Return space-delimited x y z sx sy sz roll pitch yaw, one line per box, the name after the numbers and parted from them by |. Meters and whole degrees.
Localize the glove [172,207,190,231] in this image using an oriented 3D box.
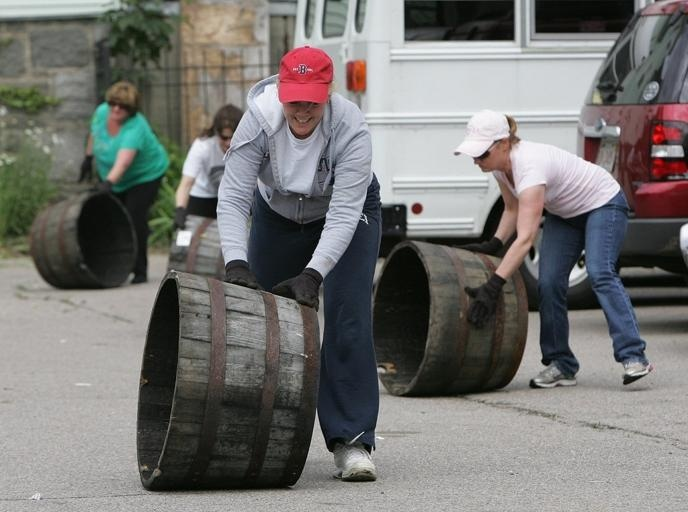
-1.451 -0.326 12.291 0.076 0.097 0.298 -3 40 11 | glove

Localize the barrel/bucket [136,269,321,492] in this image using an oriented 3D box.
-0.515 0.553 7.645 1.099 1.132 1.144 3 9 0 | barrel/bucket

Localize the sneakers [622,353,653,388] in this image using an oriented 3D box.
1.952 0.749 9.053 0.294 0.142 0.122 -19 -14 -48 | sneakers

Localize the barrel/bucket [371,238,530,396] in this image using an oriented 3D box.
0.588 0.366 9.573 1.184 1.003 1.287 -2 12 0 | barrel/bucket

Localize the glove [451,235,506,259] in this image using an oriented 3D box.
0.988 -0.062 9.928 0.519 0.176 0.113 -2 24 -22 | glove

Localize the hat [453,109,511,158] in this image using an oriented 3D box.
0.880 -0.772 8.876 0.370 0.223 0.242 -27 22 -28 | hat

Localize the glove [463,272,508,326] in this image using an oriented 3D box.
0.918 0.293 8.935 0.253 0.359 0.170 1 10 -4 | glove

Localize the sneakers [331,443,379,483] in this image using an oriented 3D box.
0.070 1.138 7.438 0.120 0.152 0.319 4 -9 -17 | sneakers

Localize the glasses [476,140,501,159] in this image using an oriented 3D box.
0.929 -0.668 8.828 0.035 0.128 0.098 40 -6 -4 | glasses

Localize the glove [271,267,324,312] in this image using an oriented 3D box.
-0.234 0.168 7.346 0.258 0.196 0.266 -1 7 42 | glove

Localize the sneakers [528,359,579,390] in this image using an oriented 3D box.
1.402 0.834 9.255 0.327 0.154 0.139 2 -4 -20 | sneakers

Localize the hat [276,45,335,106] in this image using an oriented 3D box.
-0.203 -0.947 7.189 0.277 0.292 0.236 5 11 15 | hat

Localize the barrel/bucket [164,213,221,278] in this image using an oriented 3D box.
-1.251 -0.065 12.107 0.500 0.532 0.519 3 16 -1 | barrel/bucket

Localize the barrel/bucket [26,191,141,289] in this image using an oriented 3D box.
-2.317 -0.141 11.993 0.740 0.776 0.787 6 -1 0 | barrel/bucket

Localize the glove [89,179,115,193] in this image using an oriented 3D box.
-2.077 -0.588 11.858 0.110 0.121 0.114 3 -17 -38 | glove
